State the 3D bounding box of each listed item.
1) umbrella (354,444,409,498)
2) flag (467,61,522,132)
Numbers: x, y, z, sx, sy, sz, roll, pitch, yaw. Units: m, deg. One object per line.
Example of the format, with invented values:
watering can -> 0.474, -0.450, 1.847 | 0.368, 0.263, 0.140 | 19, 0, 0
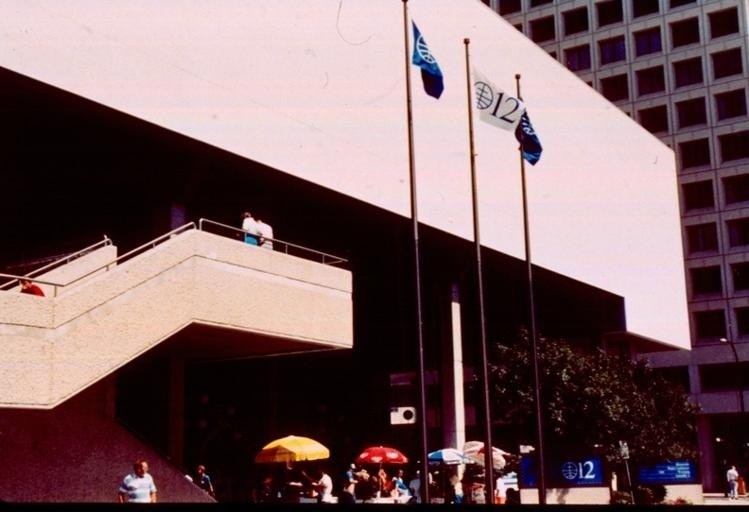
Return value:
umbrella -> 0.273, 8.782, 41.735 | 2.020, 2.149, 2.130 | 5, 10, 38
flag -> 4.811, -6.170, 39.586 | 2.132, 2.329, 0.251 | 5, 19, -9
